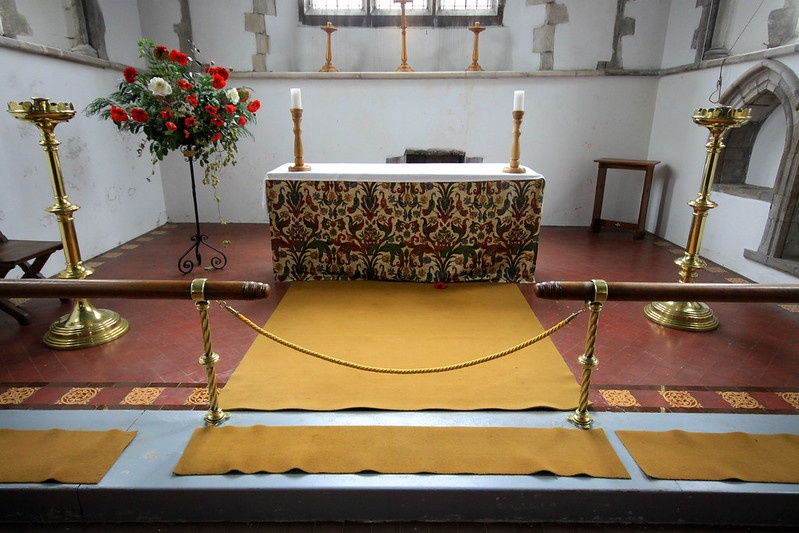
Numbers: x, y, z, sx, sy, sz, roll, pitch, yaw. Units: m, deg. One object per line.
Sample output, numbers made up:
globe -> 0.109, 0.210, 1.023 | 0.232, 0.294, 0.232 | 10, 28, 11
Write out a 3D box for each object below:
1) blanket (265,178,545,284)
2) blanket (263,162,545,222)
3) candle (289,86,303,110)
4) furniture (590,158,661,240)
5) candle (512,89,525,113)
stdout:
blanket -> 0.049, -0.445, 6.299 | 3.196, 1.184, 0.495 | 1, 7, 1
blanket -> 0.009, -0.956, 6.261 | 3.088, 0.527, 0.652 | 1, 19, 1
candle -> -1.170, -1.913, 5.983 | 0.103, 0.216, 0.377 | -4, 19, -12
furniture -> 3.601, -1.107, 8.336 | 1.020, 1.236, 0.643 | 14, 27, 31
candle -> 1.310, -1.823, 5.787 | 0.095, 0.214, 0.141 | 1, 20, 2
